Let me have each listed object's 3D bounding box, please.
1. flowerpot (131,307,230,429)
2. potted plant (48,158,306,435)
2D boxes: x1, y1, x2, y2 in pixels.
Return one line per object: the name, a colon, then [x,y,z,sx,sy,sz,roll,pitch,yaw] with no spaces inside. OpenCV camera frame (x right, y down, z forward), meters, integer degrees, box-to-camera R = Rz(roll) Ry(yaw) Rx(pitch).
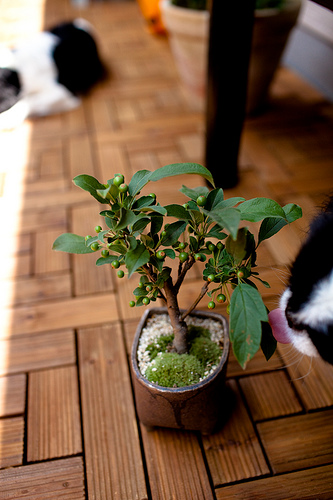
flowerpot: [0.048,0.193,0.754,0.176,0.158,0.201,3,46,6]
potted plant: [0.047,0.082,0.698,0.399,0.454,0.366,-3,25,-5]
